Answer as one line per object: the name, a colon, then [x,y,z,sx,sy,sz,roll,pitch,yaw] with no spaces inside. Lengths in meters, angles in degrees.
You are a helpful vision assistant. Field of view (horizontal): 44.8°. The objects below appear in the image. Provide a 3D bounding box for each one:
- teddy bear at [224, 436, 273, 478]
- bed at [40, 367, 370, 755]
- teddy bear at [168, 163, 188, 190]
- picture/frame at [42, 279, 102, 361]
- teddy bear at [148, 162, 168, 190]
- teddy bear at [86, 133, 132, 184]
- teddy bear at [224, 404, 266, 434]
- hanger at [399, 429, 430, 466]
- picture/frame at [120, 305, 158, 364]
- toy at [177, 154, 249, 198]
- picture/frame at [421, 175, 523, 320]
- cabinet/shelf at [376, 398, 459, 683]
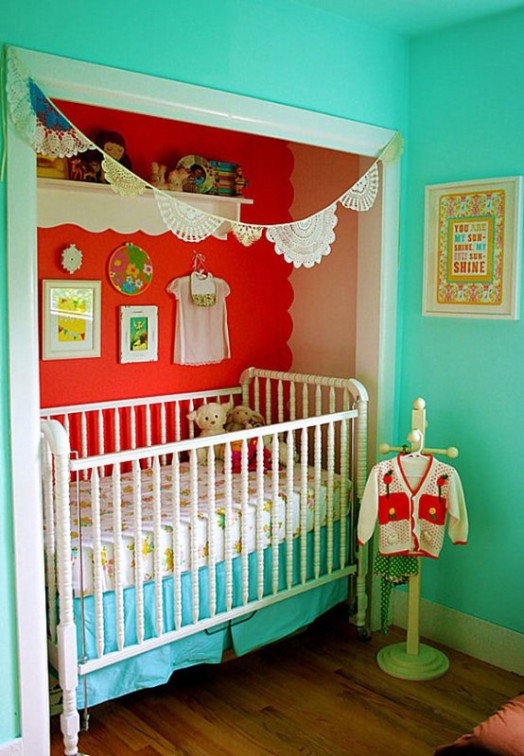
teddy bear: [-0.059,0.377,2.978,0.156,0.083,0.211,-1,4,-21]
bed: [-0.298,0.578,2.682,1.025,1.202,1.783,1,2,42]
teddy bear: [-0.372,-0.885,2.850,0.054,0.123,0.079,-9,0,42]
picture/frame: [-0.826,-0.249,2.708,0.333,0.441,0.030,-4,6,-44]
teddy bear: [-0.470,-0.903,2.865,0.078,0.154,0.165,-1,1,-10]
teddy bear: [-0.615,-0.904,2.675,0.107,0.237,0.256,0,2,21]
teddy bear: [-0.097,0.210,3.110,0.124,0.058,0.120,6,50,6]
hanger: [0.589,0.266,2.505,0.156,0.156,0.111,-1,-4,33]
picture/frame: [-0.585,-0.196,2.989,0.035,0.275,0.220,1,2,44]
toy: [-0.232,-0.953,3.044,0.307,0.180,0.121,-3,10,-39]
picture/frame: [0.831,-0.508,2.469,0.027,0.724,0.540,-4,8,-33]
cabinet/shelf: [0.637,0.631,2.626,0.315,1.088,0.425,0,2,17]
